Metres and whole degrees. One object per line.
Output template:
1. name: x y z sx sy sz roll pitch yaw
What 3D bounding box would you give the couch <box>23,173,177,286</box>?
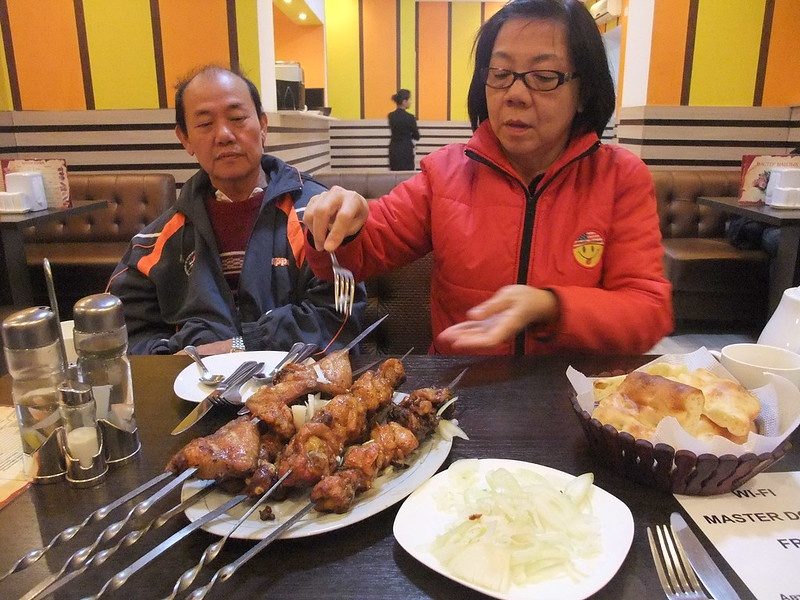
1. couch: -1.747 -0.417 3.368 0.711 0.716 0.547 1 13 1

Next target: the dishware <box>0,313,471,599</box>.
1. dishware: -0.186 0.279 1.029 0.333 0.133 0.816 27 35 31

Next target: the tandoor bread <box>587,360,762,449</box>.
1. tandoor bread: 0.516 0.190 1.068 0.180 0.063 0.176 -5 15 -13

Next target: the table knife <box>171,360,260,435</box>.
1. table knife: -0.390 0.206 1.316 0.052 0.026 0.367 5 17 13

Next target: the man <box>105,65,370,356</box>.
1. man: -0.667 -0.296 2.265 1.084 1.117 0.661 -4 5 7

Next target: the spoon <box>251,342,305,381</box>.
1. spoon: -0.286 0.154 1.412 0.040 0.027 0.180 -1 24 21

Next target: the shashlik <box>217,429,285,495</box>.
1. shashlik: -0.250 0.283 1.018 0.074 0.023 0.074 -22 27 -33

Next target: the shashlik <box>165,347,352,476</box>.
1. shashlik: -0.249 0.243 1.117 0.133 0.094 0.403 30 31 20

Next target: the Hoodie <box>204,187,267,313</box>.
1. Hoodie: -0.627 -0.170 2.364 0.320 0.459 0.250 -6 6 0

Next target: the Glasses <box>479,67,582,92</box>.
1. Glasses: 0.382 -0.649 1.710 0.257 0.076 0.097 2 19 17

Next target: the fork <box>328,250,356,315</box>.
1. fork: -0.169 -0.057 1.703 0.029 0.229 0.029 -1 32 9

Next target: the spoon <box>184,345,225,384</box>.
1. spoon: -0.489 0.148 1.439 0.050 0.034 0.221 -16 22 -17

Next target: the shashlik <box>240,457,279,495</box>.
1. shashlik: -0.232 0.304 0.982 0.036 0.022 0.058 20 35 12

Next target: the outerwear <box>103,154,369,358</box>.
1. outerwear: -0.633 -0.135 2.245 0.921 0.774 0.552 -2 9 3
